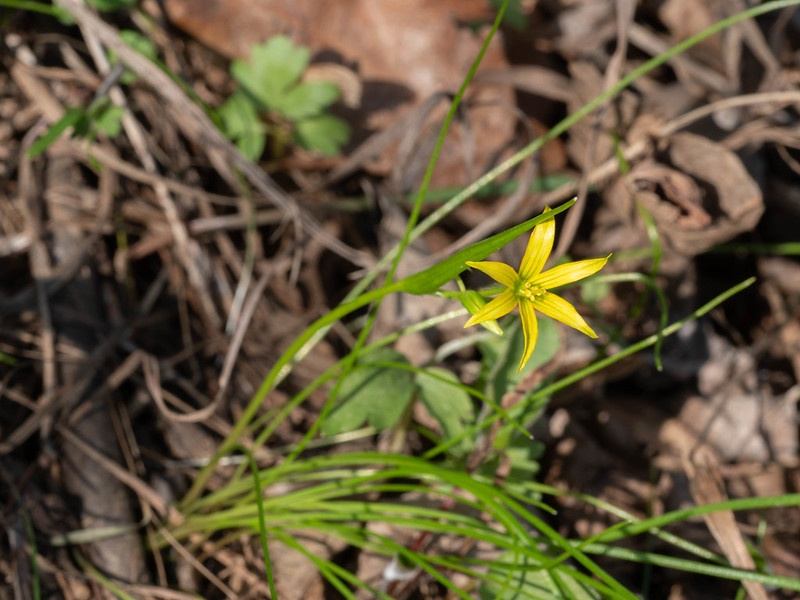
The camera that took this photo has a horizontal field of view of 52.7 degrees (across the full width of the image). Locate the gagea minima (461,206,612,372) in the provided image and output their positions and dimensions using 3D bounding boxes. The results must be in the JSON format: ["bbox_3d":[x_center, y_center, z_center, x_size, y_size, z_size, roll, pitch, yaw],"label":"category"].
[{"bbox_3d":[0.368,-0.051,2.342,0.391,0.466,0.173,12,55,-23],"label":"gagea minima"}]
